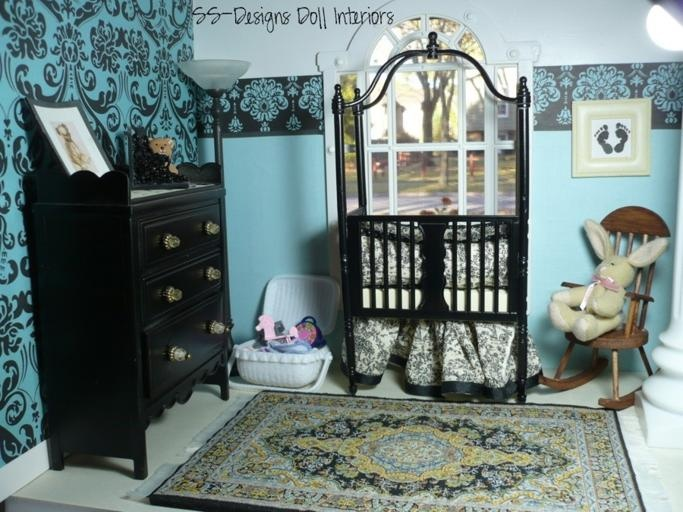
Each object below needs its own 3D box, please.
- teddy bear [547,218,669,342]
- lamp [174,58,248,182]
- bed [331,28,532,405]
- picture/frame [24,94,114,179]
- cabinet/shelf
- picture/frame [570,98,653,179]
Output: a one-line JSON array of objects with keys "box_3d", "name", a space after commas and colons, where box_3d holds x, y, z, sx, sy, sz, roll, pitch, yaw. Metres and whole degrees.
[{"box_3d": [1.450, 0.137, 3.265, 0.614, 0.612, 0.446, -15, 19, -42], "name": "teddy bear"}, {"box_3d": [-0.738, -0.836, 3.517, 0.409, 0.705, 0.620, -5, 14, -13], "name": "lamp"}, {"box_3d": [0.498, -0.220, 3.255, 1.143, 2.032, 0.586, 2, 15, 17], "name": "bed"}, {"box_3d": [-1.271, -0.558, 2.682, 0.020, 0.477, 0.427, -21, 10, 22], "name": "picture/frame"}, {"box_3d": [-1.007, 0.252, 2.858, 0.596, 1.398, 0.847, 3, 15, 20], "name": "cabinet/shelf"}, {"box_3d": [1.570, -0.720, 3.412, 0.512, 0.485, 0.039, 0, 4, 12], "name": "picture/frame"}]
